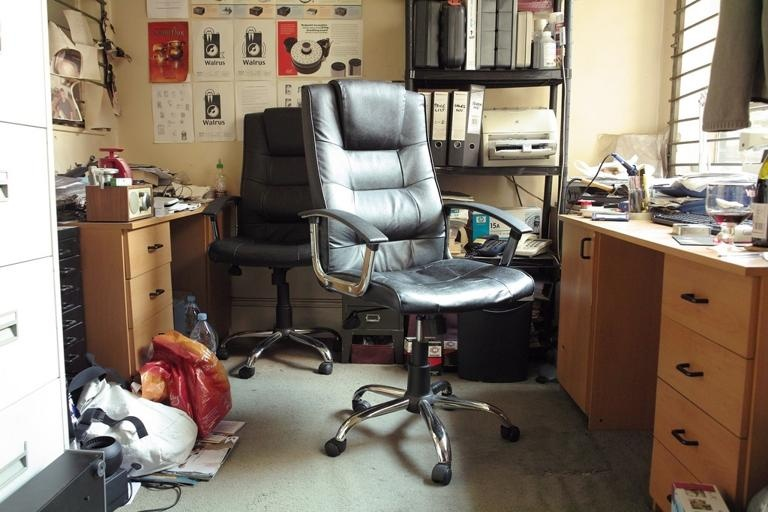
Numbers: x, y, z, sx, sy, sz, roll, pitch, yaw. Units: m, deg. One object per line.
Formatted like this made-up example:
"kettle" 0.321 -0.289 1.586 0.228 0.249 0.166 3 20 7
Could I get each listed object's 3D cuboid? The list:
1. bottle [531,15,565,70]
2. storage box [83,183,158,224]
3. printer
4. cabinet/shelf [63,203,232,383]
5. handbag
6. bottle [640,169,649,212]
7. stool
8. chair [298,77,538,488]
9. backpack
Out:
"bottle" 0.900 -1.170 3.219 0.174 0.296 0.151 2 16 14
"storage box" -1.184 -0.205 2.659 0.180 0.136 0.296 0 6 -1
"printer" 0.743 -0.648 3.252 0.432 0.303 0.336 -1 20 3
"cabinet/shelf" -1.120 0.170 2.751 0.325 0.692 0.868 1 12 6
"handbag" -0.827 0.506 2.644 0.447 0.392 0.433 17 7 12
"bottle" 1.188 -0.305 2.699 0.055 0.194 0.131 5 16 23
"stool" -0.058 0.431 3.463 0.376 0.474 0.383 0 2 -2
"chair" 0.085 0.028 2.502 0.958 1.429 0.924 11 14 32
"backpack" -0.982 0.646 2.297 0.483 0.195 0.340 26 9 -1
